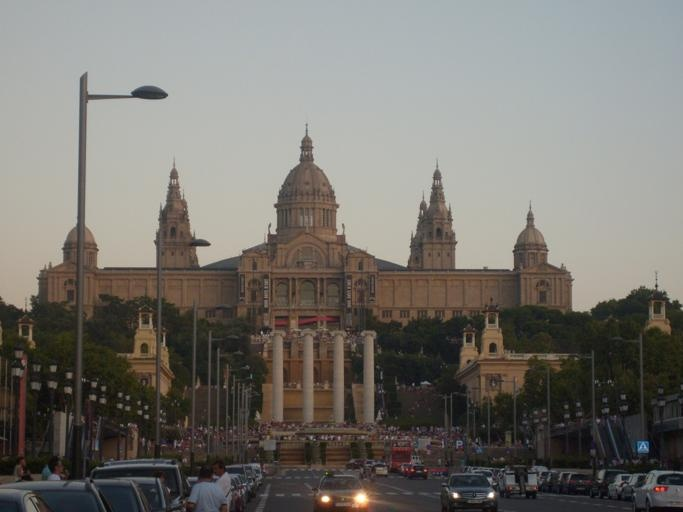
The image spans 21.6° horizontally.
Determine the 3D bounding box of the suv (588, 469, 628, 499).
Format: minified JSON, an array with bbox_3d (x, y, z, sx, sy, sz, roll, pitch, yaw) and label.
[{"bbox_3d":[19.276,16.703,131.816,1.445,1.436,3.065,0,-1,-1],"label":"suv"}]
